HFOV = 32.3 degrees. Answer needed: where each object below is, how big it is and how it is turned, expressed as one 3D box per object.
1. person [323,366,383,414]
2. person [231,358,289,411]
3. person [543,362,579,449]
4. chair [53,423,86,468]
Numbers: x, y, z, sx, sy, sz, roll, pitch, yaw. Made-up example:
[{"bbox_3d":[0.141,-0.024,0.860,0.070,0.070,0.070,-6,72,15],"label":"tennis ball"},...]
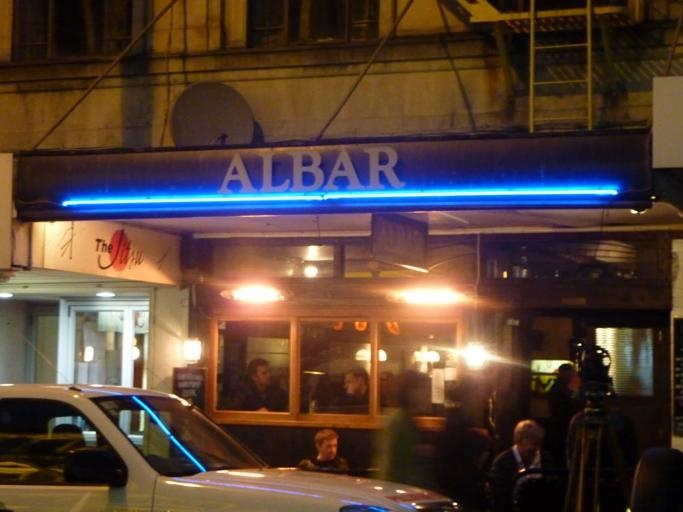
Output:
[{"bbox_3d":[0.059,1.862,17.077,0.840,0.763,0.469,-1,8,7],"label":"person"},{"bbox_3d":[-1.146,1.952,17.188,0.913,0.763,0.498,4,-11,-20],"label":"person"},{"bbox_3d":[3.036,2.065,16.192,0.451,1.183,0.214,-3,-8,33],"label":"person"},{"bbox_3d":[-2.728,1.988,11.831,0.385,0.551,0.467,-3,-4,-14],"label":"chair"}]
